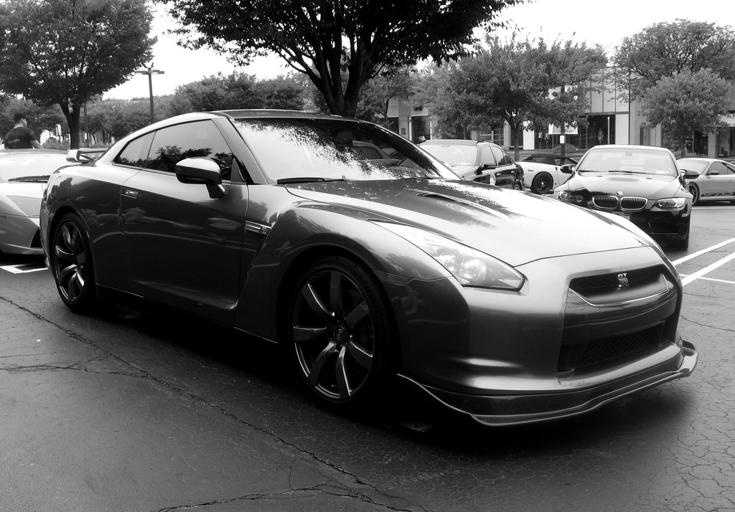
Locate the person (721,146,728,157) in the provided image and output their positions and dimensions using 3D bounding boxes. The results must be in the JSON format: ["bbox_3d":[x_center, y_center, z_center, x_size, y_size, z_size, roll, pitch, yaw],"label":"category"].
[{"bbox_3d":[34.067,-10.018,50.570,0.606,0.919,0.226,5,-3,0],"label":"person"}]

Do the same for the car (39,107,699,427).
[{"bbox_3d":[-0.563,-0.259,4.632,5.889,1.996,2.190,8,13,38],"label":"car"}]
